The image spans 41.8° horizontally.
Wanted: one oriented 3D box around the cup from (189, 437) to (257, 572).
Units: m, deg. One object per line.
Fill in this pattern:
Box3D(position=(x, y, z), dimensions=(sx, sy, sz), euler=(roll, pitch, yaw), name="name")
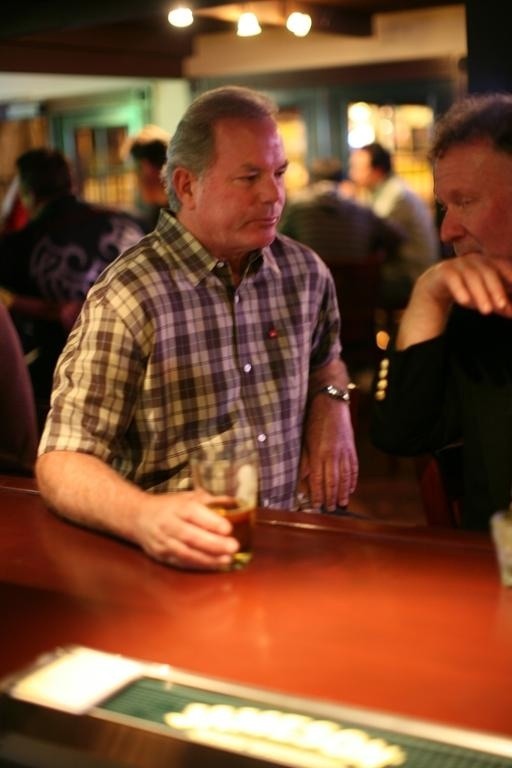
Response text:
Box3D(position=(-0.037, 0.145, 0.824), dimensions=(0.083, 0.143, 0.075), euler=(-1, 4, 0), name="cup")
